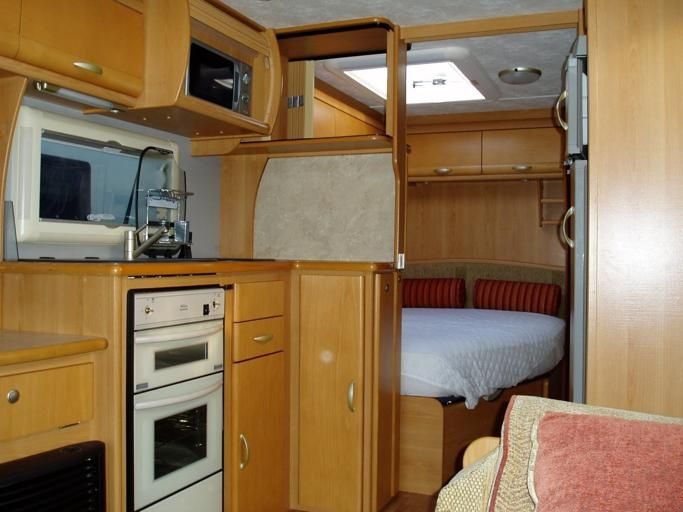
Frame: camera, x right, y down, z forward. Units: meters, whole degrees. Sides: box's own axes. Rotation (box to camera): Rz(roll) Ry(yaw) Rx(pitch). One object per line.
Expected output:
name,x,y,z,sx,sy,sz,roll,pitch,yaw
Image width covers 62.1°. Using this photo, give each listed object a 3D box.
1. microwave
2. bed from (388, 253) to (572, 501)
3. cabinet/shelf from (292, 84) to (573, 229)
microwave,-0.499,-0.851,2.726,0.460,0.274,0.297,29,34,30
bed,0.943,0.660,3.927,1.121,0.795,1.678,1,4,27
cabinet/shelf,0.794,-0.821,4.381,1.223,0.798,0.637,1,-3,18
